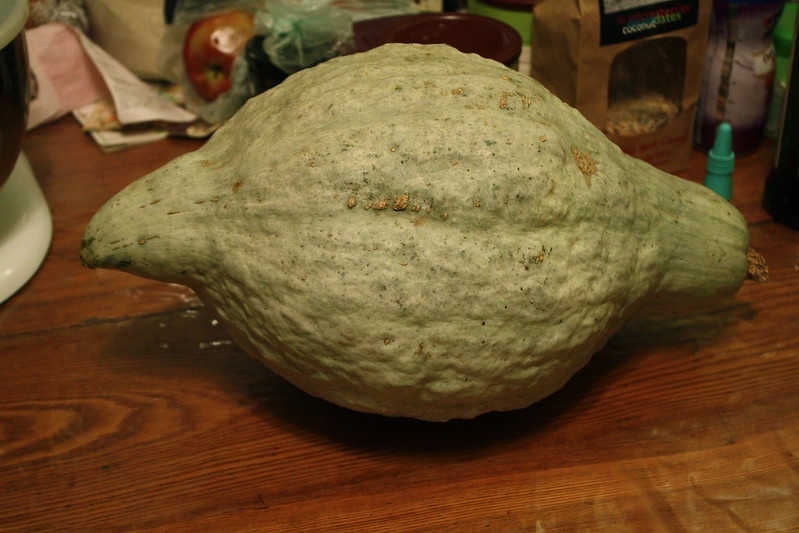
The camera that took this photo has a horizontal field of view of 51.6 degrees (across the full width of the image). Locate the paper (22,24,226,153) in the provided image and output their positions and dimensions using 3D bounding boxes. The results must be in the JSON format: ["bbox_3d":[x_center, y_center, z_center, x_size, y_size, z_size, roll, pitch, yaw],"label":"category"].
[{"bbox_3d":[-0.558,-0.320,1.566,0.359,0.099,0.252,-8,38,-46],"label":"paper"}]

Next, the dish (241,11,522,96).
[{"bbox_3d":[-0.034,-0.333,1.292,0.229,0.129,0.181,-17,42,-10],"label":"dish"}]

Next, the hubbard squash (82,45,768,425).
[{"bbox_3d":[0.018,-0.032,1.093,0.948,0.323,0.380,3,41,-7],"label":"hubbard squash"}]

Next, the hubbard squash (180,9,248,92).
[{"bbox_3d":[-0.348,-0.406,1.567,0.142,0.113,0.144,22,30,5],"label":"hubbard squash"}]
